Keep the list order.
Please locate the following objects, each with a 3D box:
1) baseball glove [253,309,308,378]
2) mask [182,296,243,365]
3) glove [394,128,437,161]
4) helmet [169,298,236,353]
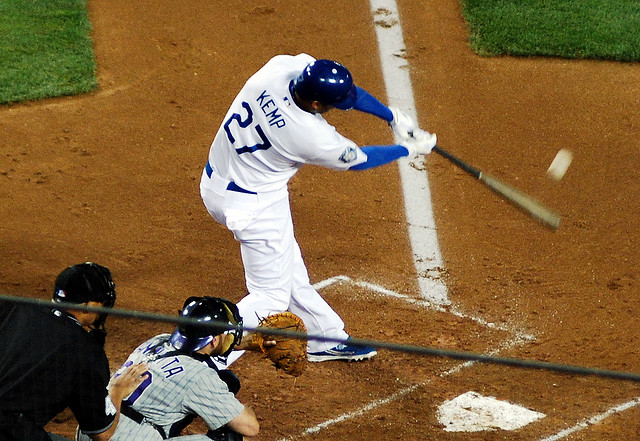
[{"bbox_3d":[-0.469,1.452,12.450,0.646,0.771,0.345,9,42,44],"label":"baseball glove"},{"bbox_3d":[-1.242,1.262,11.915,0.522,0.618,0.678,22,38,31],"label":"mask"},{"bbox_3d":[1.181,-0.948,13.129,0.480,0.345,0.260,-7,45,-26],"label":"glove"},{"bbox_3d":[-1.339,1.199,11.958,0.722,0.455,0.463,-4,43,-23],"label":"helmet"}]
